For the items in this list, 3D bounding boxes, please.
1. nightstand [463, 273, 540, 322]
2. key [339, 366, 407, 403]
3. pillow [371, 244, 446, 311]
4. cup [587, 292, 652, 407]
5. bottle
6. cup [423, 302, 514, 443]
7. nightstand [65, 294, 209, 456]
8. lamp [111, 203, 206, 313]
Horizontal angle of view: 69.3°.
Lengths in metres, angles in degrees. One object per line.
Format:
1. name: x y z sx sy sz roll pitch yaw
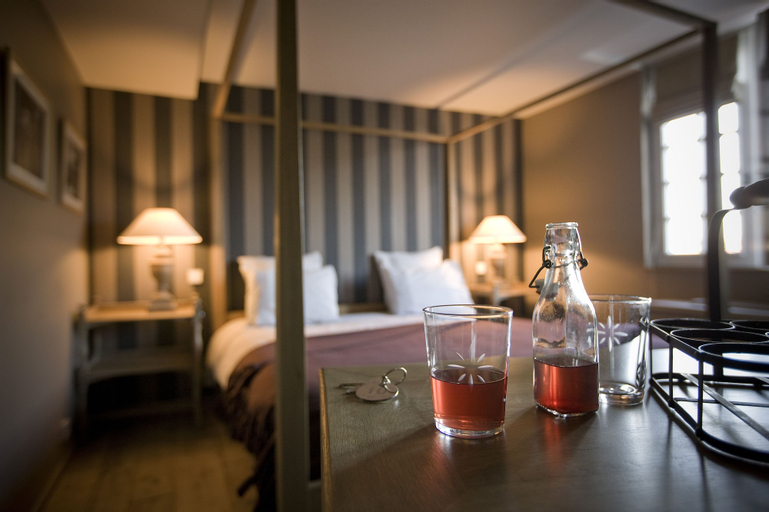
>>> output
1. nightstand: 1.086 0.342 4.833 0.647 0.479 0.555 -3 7 -32
2. key: -0.009 0.406 1.757 0.096 0.038 0.127 5 8 35
3. pillow: 0.192 0.152 4.368 0.484 0.494 0.369 2 4 -28
4. cup: 0.721 0.264 1.719 0.127 0.353 0.153 5 2 16
5. bottle: 0.489 0.180 1.660 0.220 0.540 0.230 0 -2 0
6. cup: 0.250 0.306 1.610 0.240 0.363 0.258 0 -2 0
7. nightstand: -1.441 0.624 3.331 0.695 0.727 0.440 -3 -3 -18
8. lamp: -1.319 0.006 3.700 0.587 0.682 0.601 1 3 11
